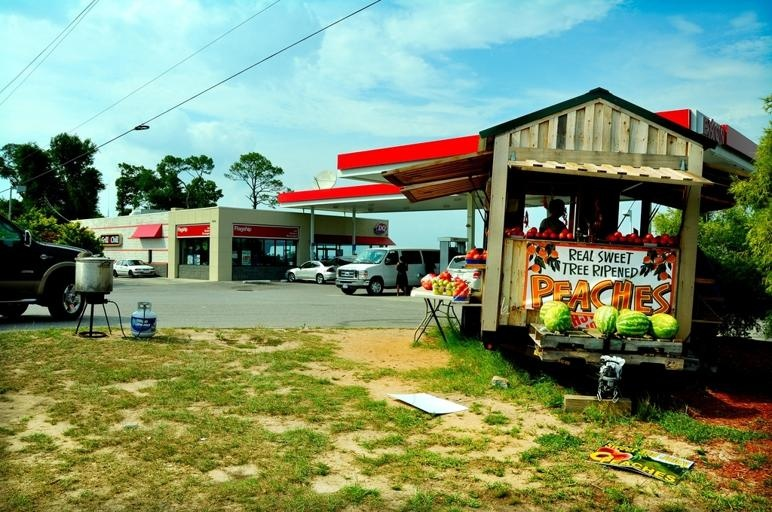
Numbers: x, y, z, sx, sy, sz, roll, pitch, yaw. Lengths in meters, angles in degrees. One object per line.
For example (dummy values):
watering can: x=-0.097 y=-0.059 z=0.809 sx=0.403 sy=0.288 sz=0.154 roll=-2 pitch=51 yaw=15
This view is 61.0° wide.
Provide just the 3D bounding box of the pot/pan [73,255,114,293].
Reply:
pot/pan: x=-5.820 y=0.398 z=13.181 sx=0.802 sy=0.683 sz=0.736 roll=0 pitch=-4 yaw=8

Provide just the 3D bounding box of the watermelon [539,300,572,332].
watermelon: x=2.749 y=1.000 z=10.535 sx=0.384 sy=0.405 sz=0.503 roll=4 pitch=1 yaw=-7

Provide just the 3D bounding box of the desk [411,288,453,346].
desk: x=1.110 y=1.519 z=15.779 sx=0.784 sy=1.270 sz=1.786 roll=0 pitch=-1 yaw=-5

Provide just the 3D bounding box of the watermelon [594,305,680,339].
watermelon: x=3.835 y=1.063 z=10.126 sx=1.147 sy=0.458 sz=0.544 roll=6 pitch=-28 yaw=2
